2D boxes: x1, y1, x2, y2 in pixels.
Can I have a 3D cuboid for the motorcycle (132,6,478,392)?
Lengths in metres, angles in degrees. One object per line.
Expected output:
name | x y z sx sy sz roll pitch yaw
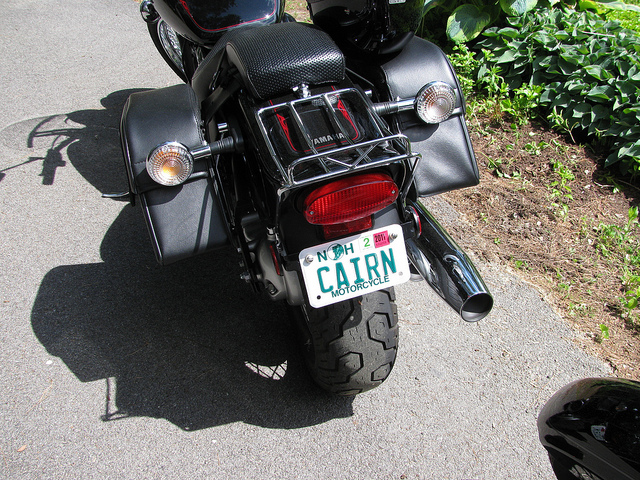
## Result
motorcycle | -0.201 -0.668 3.611 1.401 1.732 3.032 -20 49 -13

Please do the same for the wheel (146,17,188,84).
wheel | -1.520 -1.888 5.367 0.203 0.664 0.654 -16 68 6

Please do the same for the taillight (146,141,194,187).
taillight | -0.838 -0.430 3.009 0.256 0.247 0.066 -18 39 -8
